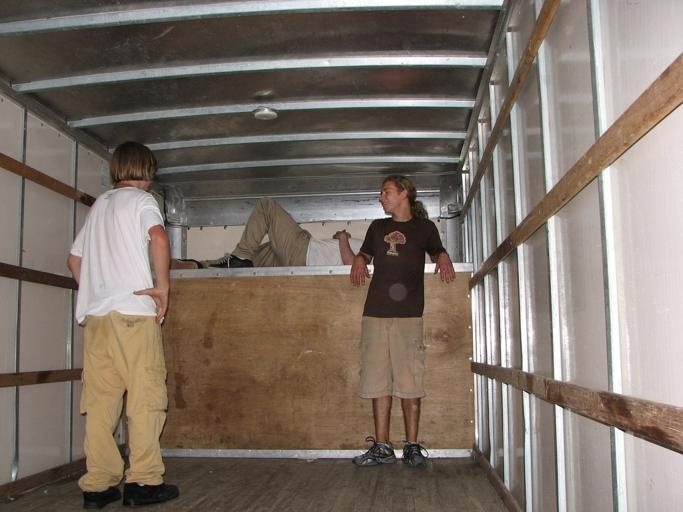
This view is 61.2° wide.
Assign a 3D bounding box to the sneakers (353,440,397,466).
[{"bbox_3d":[0.229,1.340,3.916,0.318,0.184,0.128,-1,-11,-3],"label":"sneakers"}]

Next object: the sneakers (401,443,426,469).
[{"bbox_3d":[0.473,1.305,3.799,0.144,0.147,0.138,-2,-5,3],"label":"sneakers"}]

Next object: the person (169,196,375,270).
[{"bbox_3d":[-0.640,-0.125,4.941,1.565,0.626,0.630,9,0,-18],"label":"person"}]

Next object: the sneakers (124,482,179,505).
[{"bbox_3d":[-1.032,1.284,3.163,0.305,0.140,0.122,10,-16,-42],"label":"sneakers"}]

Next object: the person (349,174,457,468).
[{"bbox_3d":[0.409,0.401,4.052,0.690,1.997,0.500,-2,-4,3],"label":"person"}]

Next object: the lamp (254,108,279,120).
[{"bbox_3d":[-0.564,-1.046,4.280,0.176,0.046,0.273,-1,-5,-5],"label":"lamp"}]

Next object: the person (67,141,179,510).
[{"bbox_3d":[-1.232,0.332,3.272,0.594,2.048,0.341,-1,-4,-4],"label":"person"}]

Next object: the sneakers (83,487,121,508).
[{"bbox_3d":[-1.294,1.304,3.151,0.081,0.093,0.211,0,-1,27],"label":"sneakers"}]

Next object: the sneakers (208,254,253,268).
[{"bbox_3d":[-0.893,0.046,4.628,0.357,0.134,0.133,6,-7,1],"label":"sneakers"}]
